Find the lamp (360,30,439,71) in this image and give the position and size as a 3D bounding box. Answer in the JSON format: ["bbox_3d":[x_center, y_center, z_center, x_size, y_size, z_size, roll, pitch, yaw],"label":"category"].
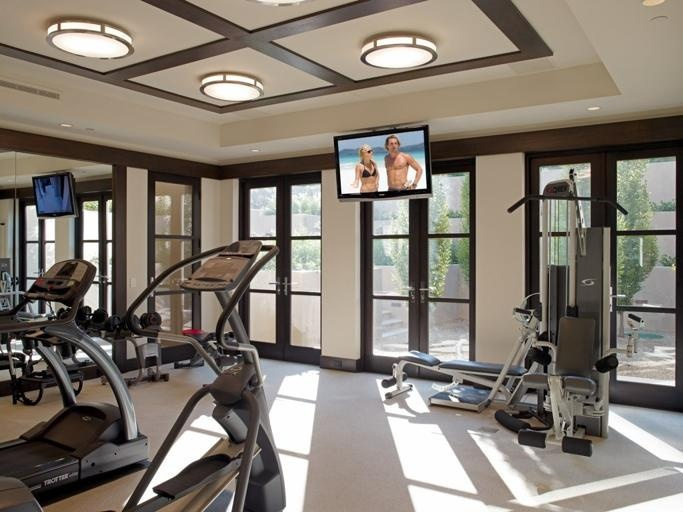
[{"bbox_3d":[0.539,-1.939,4.682,0.712,0.184,0.462,0,4,7],"label":"lamp"}]

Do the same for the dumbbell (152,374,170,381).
[{"bbox_3d":[-2.432,1.654,6.708,0.145,0.061,0.106,0,0,-36],"label":"dumbbell"}]

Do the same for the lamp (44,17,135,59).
[{"bbox_3d":[-2.185,-1.918,4.365,0.684,0.208,0.444,-2,5,-23],"label":"lamp"}]

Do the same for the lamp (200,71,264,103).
[{"bbox_3d":[-1.215,-1.903,5.566,0.689,0.192,0.502,-1,5,-15],"label":"lamp"}]

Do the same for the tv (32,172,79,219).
[{"bbox_3d":[-4.096,-0.863,7.113,0.748,0.741,0.243,-4,-1,-9],"label":"tv"}]

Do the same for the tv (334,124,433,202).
[{"bbox_3d":[0.531,-1.178,6.145,1.041,0.675,0.075,0,5,32],"label":"tv"}]
